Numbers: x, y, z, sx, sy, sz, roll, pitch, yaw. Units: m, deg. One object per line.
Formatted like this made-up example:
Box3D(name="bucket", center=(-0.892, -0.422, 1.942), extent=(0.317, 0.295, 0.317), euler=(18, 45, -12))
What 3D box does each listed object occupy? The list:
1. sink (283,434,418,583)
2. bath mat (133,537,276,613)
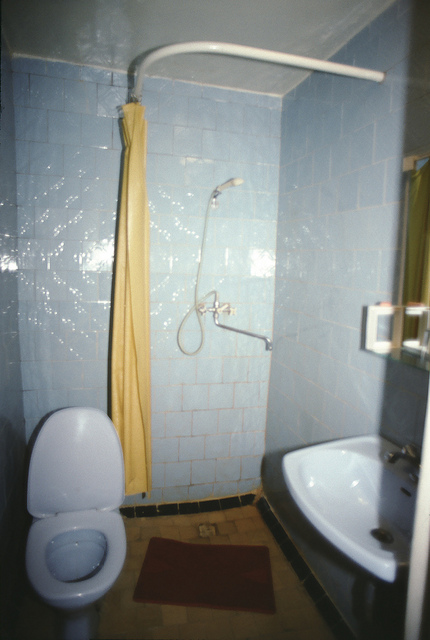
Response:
Box3D(name="sink", center=(0.360, 0.469, 1.351), extent=(0.292, 0.256, 0.474), euler=(-7, 13, -7))
Box3D(name="bath mat", center=(-0.035, 0.849, 1.693), extent=(0.445, 0.047, 0.400), euler=(5, 1, 0))
